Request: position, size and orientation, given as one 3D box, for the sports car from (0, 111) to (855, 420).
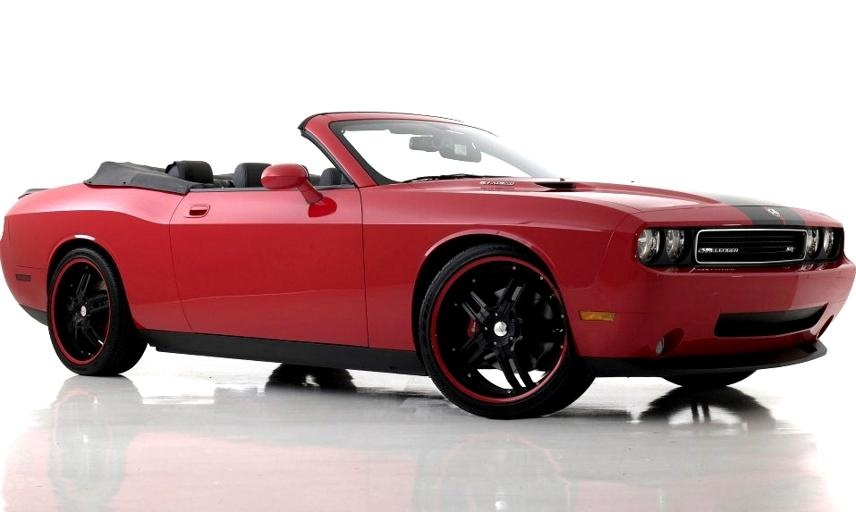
[{"bbox_3d":[-0.795,0.173,5.148,6.556,1.271,2.739,-1,-1,25],"label":"sports car"}]
